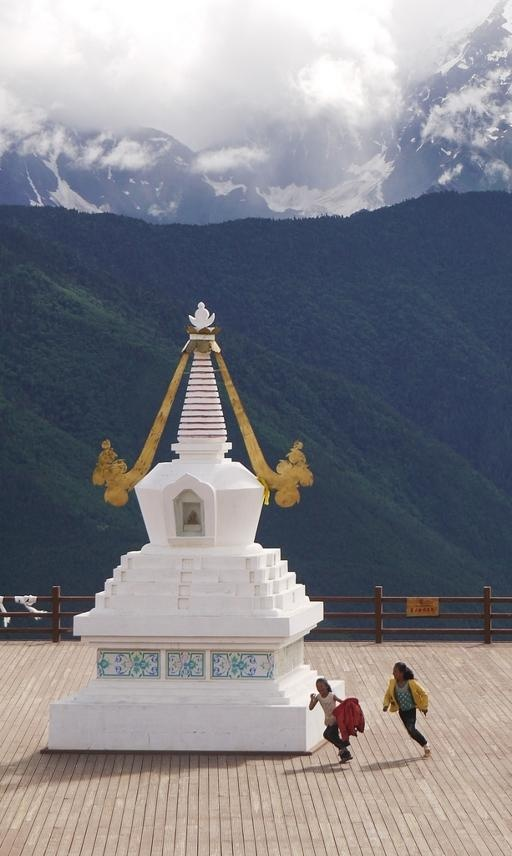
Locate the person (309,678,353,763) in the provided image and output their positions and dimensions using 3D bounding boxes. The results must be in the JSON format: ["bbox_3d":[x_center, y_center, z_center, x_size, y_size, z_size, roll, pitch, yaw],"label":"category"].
[{"bbox_3d":[0.693,2.779,7.911,0.411,0.991,0.617,2,19,4],"label":"person"}]

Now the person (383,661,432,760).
[{"bbox_3d":[1.474,2.714,8.096,0.482,0.999,0.476,4,20,11],"label":"person"}]
